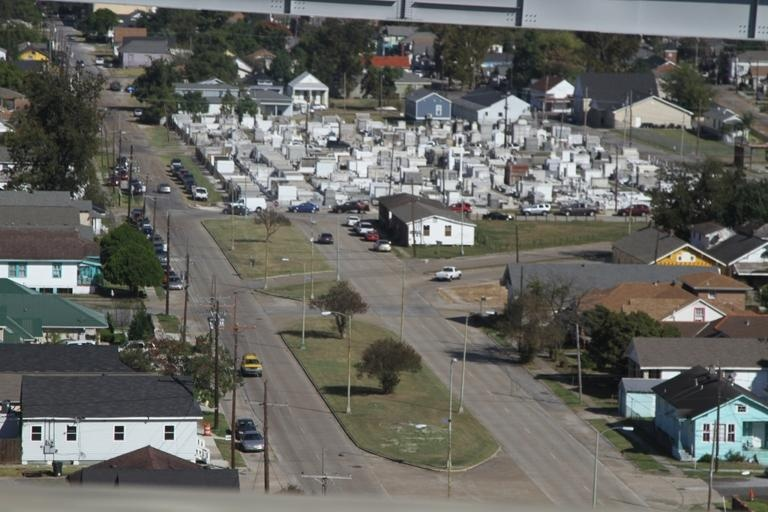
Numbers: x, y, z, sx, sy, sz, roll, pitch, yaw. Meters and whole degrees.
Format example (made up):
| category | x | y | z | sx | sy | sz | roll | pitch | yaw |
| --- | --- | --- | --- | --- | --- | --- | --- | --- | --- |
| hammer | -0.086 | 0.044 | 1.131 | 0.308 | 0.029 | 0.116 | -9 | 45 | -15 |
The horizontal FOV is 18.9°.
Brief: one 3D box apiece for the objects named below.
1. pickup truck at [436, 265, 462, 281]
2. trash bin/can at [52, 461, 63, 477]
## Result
| category | x | y | z | sx | sy | sz | roll | pitch | yaw |
| --- | --- | --- | --- | --- | --- | --- | --- | --- | --- |
| pickup truck | 4.463 | 1.289 | 154.472 | 0.872 | 0.658 | 1.461 | 12 | 19 | 43 |
| trash bin/can | -18.360 | 11.961 | 130.007 | 0.667 | 0.987 | 0.682 | 1 | 0 | -8 |
